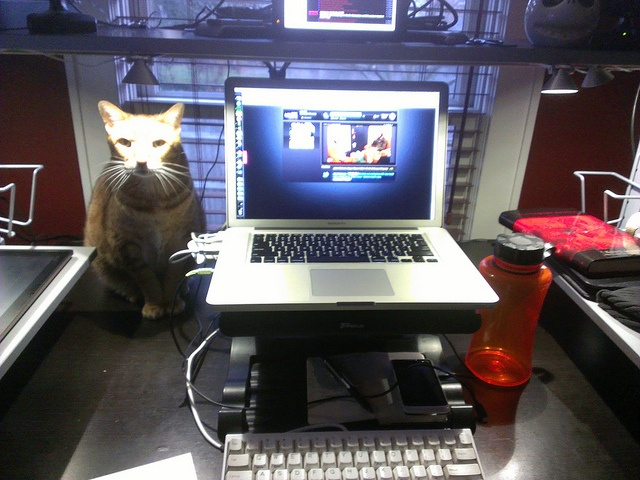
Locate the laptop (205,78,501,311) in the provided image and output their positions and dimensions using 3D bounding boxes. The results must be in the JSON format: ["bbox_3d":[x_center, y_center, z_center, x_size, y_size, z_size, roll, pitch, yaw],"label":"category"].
[{"bbox_3d":[0.063,-0.124,1.161,0.604,0.415,0.425,-1,27,-2],"label":"laptop"}]

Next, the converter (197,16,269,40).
[{"bbox_3d":[-0.201,-0.504,1.219,0.147,0.033,0.107,1,29,-5],"label":"converter"}]

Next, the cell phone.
[{"bbox_3d":[0.211,0.312,1.098,0.091,0.043,0.138,-3,26,-7],"label":"cell phone"}]

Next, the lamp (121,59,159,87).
[{"bbox_3d":[-0.455,-0.422,1.333,0.105,0.062,0.097,1,17,-14],"label":"lamp"}]

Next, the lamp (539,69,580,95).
[{"bbox_3d":[0.620,-0.406,1.325,0.090,0.053,0.086,-3,21,-6],"label":"lamp"}]

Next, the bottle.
[{"bbox_3d":[0.423,0.158,1.154,0.154,0.313,0.172,9,28,17],"label":"bottle"}]
